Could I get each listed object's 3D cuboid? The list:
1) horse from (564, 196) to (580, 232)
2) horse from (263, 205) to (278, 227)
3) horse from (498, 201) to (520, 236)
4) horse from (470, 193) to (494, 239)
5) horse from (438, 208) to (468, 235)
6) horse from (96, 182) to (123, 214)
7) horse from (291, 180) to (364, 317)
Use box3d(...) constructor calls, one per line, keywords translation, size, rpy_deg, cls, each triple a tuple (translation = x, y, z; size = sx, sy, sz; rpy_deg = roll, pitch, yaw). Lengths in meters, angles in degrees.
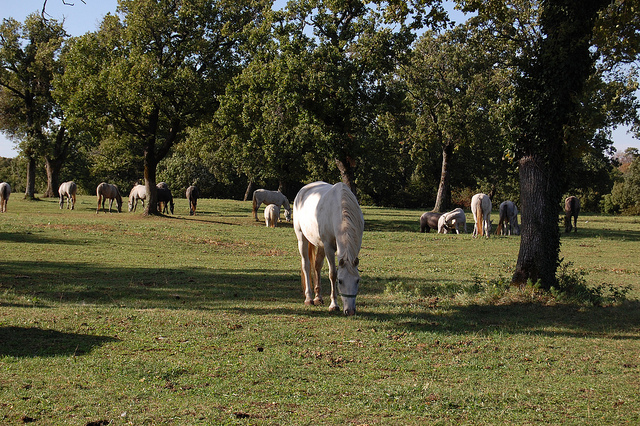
box3d(translation=(17.629, 0.025, 57.100), size=(0.850, 2.580, 3.022), rpy_deg=(3, -2, 17), cls="horse")
box3d(translation=(-3.419, 0.130, 56.906), size=(0.836, 1.495, 1.515), rpy_deg=(3, -2, -5), cls="horse")
box3d(translation=(12.944, 0.333, 55.659), size=(1.390, 2.318, 2.264), rpy_deg=(3, -2, 14), cls="horse")
box3d(translation=(10.672, 0.071, 53.919), size=(1.219, 2.950, 2.795), rpy_deg=(3, -2, 10), cls="horse")
box3d(translation=(9.093, 0.491, 56.248), size=(1.897, 1.727, 1.110), rpy_deg=(3, -2, 19), cls="horse")
box3d(translation=(-16.136, -1.064, 62.401), size=(0.995, 2.383, 4.033), rpy_deg=(0, -8, 10), cls="horse")
box3d(translation=(0.351, 1.391, 33.820), size=(1.062, 5.433, 3.538), rpy_deg=(5, -3, -38), cls="horse")
